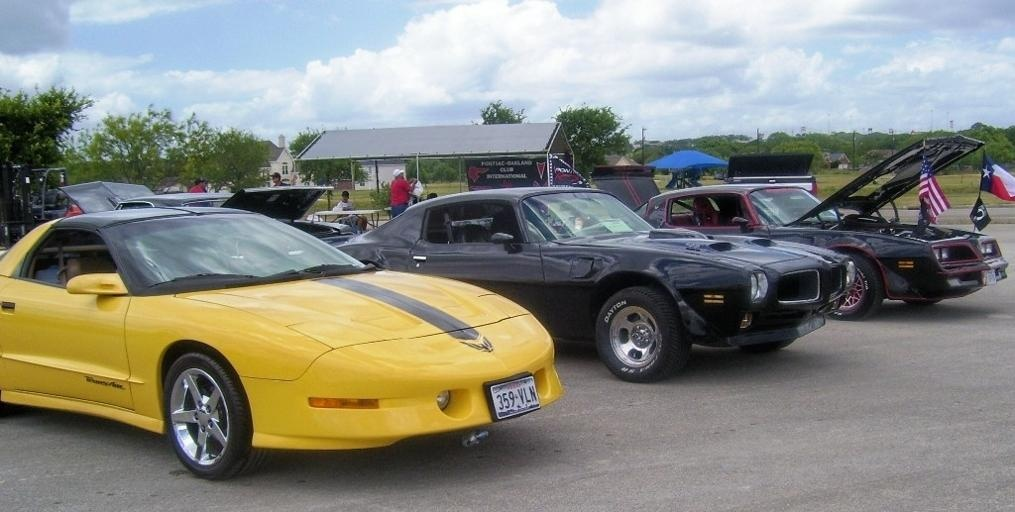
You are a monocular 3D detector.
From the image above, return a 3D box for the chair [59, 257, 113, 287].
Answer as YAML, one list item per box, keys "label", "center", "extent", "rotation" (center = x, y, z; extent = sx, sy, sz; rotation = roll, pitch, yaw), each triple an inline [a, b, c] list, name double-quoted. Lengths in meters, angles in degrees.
- label: "chair"
  center: [-5.043, 0.131, 8.432]
  extent: [0.467, 0.367, 0.481]
  rotation: [-6, 5, 35]

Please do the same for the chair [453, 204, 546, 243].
- label: "chair"
  center: [-0.276, -0.492, 10.415]
  extent: [1.096, 0.323, 0.652]
  rotation: [6, 12, 34]
